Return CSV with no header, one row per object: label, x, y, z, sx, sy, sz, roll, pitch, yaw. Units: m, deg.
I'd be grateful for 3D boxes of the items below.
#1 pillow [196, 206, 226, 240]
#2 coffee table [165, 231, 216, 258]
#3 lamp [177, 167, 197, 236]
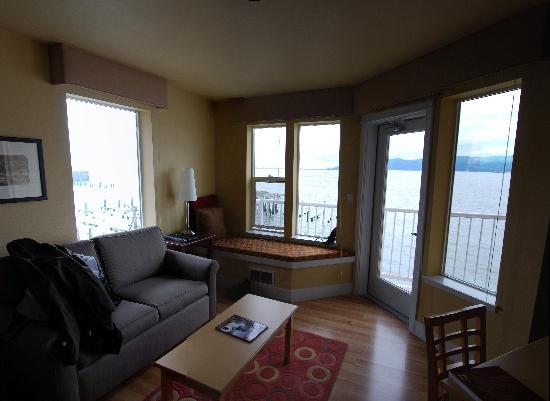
pillow,-0.877,0.312,5.153,0.151,0.405,0.419,-11,-8,24
coffee table,-1.057,0.483,4.639,0.370,0.364,0.376,8,13,35
lamp,-1.114,-0.007,4.883,0.202,0.825,0.405,-1,6,-13
